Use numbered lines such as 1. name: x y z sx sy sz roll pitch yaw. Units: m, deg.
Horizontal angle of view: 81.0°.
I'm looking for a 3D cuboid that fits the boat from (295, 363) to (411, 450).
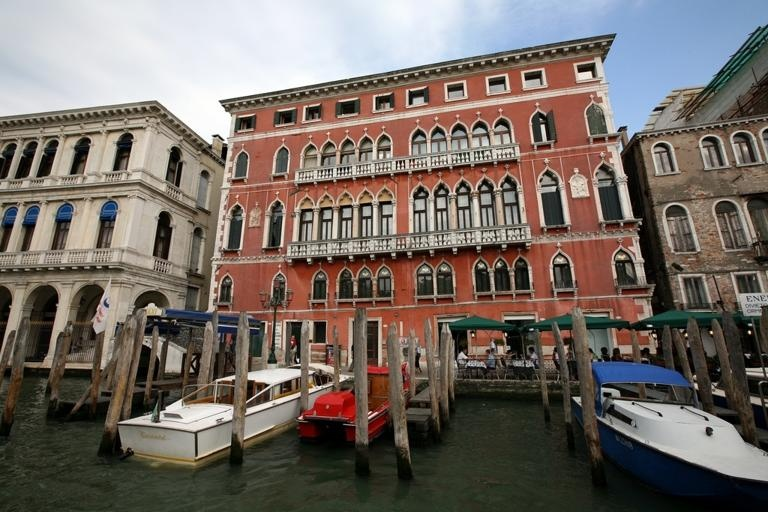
1. boat: -1.056 6.800 20.166 2.803 1.694 4.745 -4 -3 22
